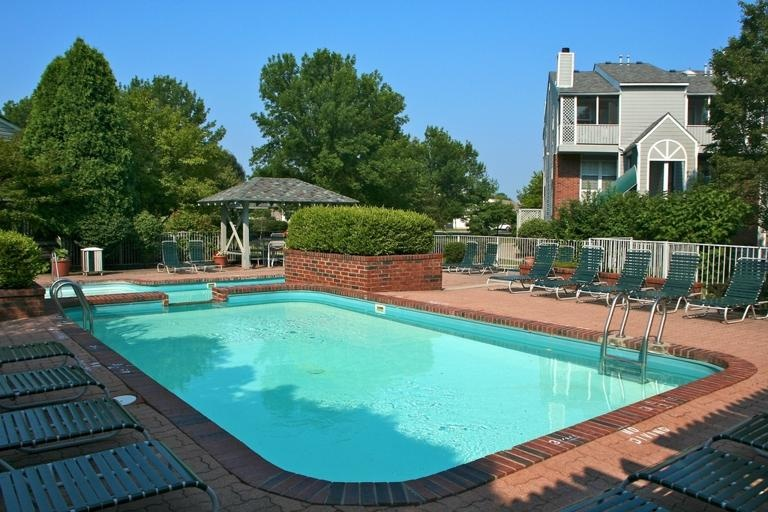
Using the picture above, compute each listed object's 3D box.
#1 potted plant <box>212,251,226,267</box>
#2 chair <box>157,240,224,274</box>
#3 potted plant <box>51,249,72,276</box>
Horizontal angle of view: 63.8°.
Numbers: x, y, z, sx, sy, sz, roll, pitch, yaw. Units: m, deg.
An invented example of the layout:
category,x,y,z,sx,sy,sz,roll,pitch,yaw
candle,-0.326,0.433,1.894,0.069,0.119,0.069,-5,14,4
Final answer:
category,x,y,z,sx,sy,sz,roll,pitch,yaw
potted plant,-7.207,0.145,27.099,0.701,0.636,0.650,0,-1,-7
chair,-7.778,0.026,25.108,2.318,1.245,2.567,0,4,-16
potted plant,-11.903,0.255,22.759,0.575,0.999,0.820,-1,5,-28
